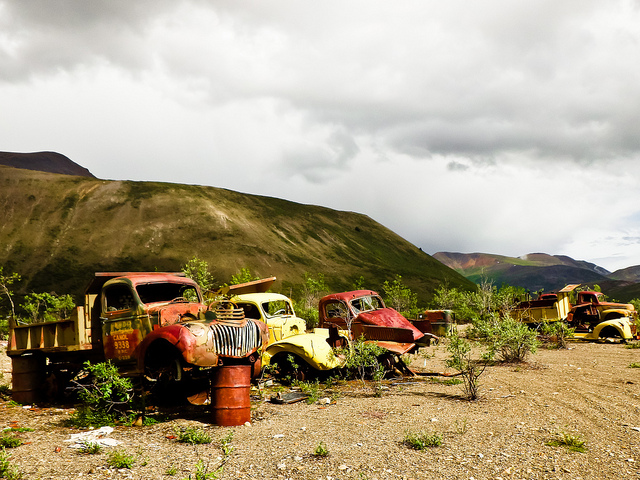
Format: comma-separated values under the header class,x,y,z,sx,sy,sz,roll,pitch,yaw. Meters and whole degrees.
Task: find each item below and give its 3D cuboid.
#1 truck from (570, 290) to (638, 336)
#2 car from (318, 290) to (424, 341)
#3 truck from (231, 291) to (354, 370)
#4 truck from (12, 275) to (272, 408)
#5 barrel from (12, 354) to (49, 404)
class,x,y,z,sx,sy,sz,roll,pitch,yaw
truck,14.432,3.353,21.589,2.616,1.215,1.590,-9,-10,41
car,1.548,2.703,14.282,3.727,1.685,2.268,-3,1,41
truck,-1.289,2.897,13.404,4.537,2.008,2.861,-2,-2,34
truck,-4.259,2.321,10.529,6.588,2.695,3.186,-5,-7,31
barrel,-7.307,3.519,10.646,0.780,1.245,0.387,2,-9,-33
